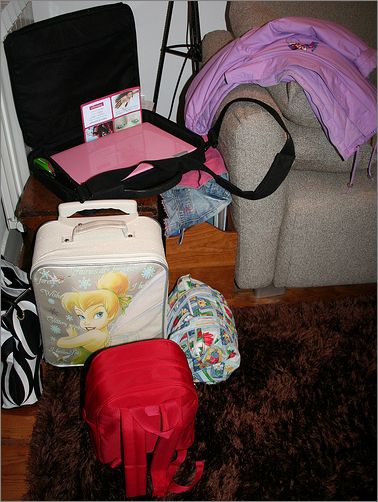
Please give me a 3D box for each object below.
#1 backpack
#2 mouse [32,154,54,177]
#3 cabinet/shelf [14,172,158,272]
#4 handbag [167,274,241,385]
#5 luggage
[{"bbox_3d":[-0.103,0.376,0.906,0.246,0.273,0.232,-10,39,-6],"label":"backpack"},{"bbox_3d":[-0.386,-0.228,1.098,0.068,0.041,0.022,46,26,10],"label":"mouse"},{"bbox_3d":[-0.300,-0.113,1.292,0.516,0.264,0.358,-1,10,-5],"label":"cabinet/shelf"},{"bbox_3d":[0.034,0.212,1.087,0.151,0.262,0.194,-11,39,-15],"label":"handbag"},{"bbox_3d":[-0.225,0.088,1.037,0.337,0.392,0.209,0,35,-11],"label":"luggage"}]
